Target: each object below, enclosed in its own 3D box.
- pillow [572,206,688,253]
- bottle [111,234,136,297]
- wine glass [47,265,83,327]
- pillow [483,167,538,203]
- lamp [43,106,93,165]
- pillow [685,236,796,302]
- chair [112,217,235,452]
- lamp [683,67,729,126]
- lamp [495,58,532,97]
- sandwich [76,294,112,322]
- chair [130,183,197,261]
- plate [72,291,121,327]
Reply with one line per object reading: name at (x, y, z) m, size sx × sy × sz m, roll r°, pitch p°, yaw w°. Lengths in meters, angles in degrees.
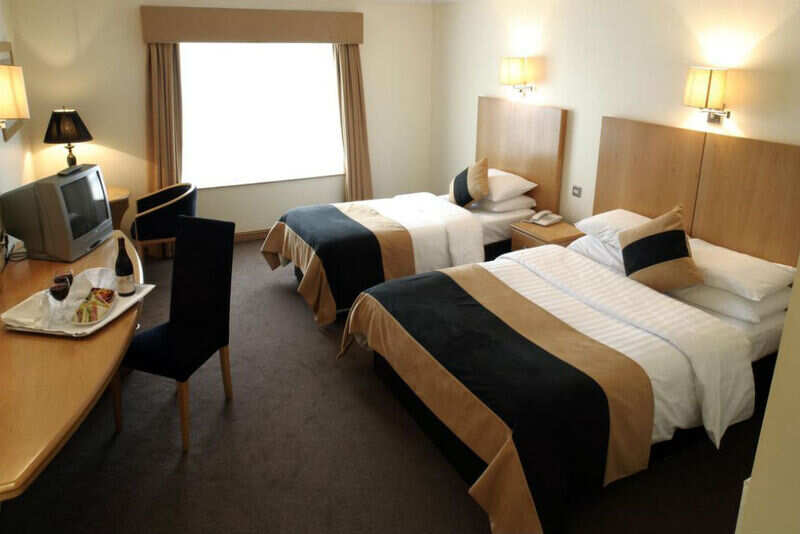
pillow at (1.785, -0.366, 4.533) m, size 0.401 × 0.127 × 0.424 m, roll -22°, pitch 23°, yaw -14°
bottle at (-1.719, -0.004, 3.366) m, size 0.155 × 0.363 × 0.157 m, roll 0°, pitch 16°, yaw 0°
wine glass at (-1.999, 0.184, 3.217) m, size 0.180 × 0.370 × 0.185 m, roll 22°, pitch 30°, yaw 36°
pillow at (1.094, -0.851, 5.609) m, size 0.309 × 0.144 × 0.492 m, roll -17°, pitch 20°, yaw -19°
lamp at (-3.312, -1.254, 5.387) m, size 0.402 × 0.639 × 0.427 m, roll -1°, pitch 27°, yaw -15°
pillow at (2.405, -0.005, 3.783) m, size 0.458 × 0.153 × 0.621 m, roll -28°, pitch 31°, yaw -24°
chair at (-1.585, 0.344, 3.673) m, size 0.838 × 1.370 × 0.844 m, roll -2°, pitch 4°, yaw -4°
lamp at (2.329, -1.267, 4.110) m, size 0.259 × 0.390 × 0.226 m, roll -6°, pitch 22°, yaw -22°
lamp at (1.170, -1.926, 5.570) m, size 0.244 × 0.395 × 0.342 m, roll -13°, pitch 21°, yaw -30°
sandwich at (-1.771, 0.227, 3.112) m, size 0.106 × 0.068 × 0.179 m, roll 4°, pitch 23°, yaw 1°
chair at (-2.495, -0.457, 5.640) m, size 0.625 × 0.810 × 0.637 m, roll 4°, pitch 23°, yaw -14°
plate at (-1.769, 0.228, 3.137) m, size 0.126 × 0.074 × 0.221 m, roll 11°, pitch 35°, yaw 5°
